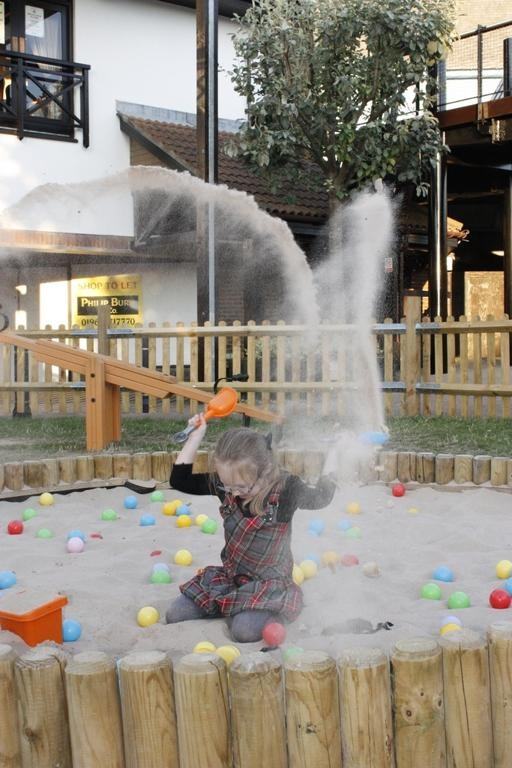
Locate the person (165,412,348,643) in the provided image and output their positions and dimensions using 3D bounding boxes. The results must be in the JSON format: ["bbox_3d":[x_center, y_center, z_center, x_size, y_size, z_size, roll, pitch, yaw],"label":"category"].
[{"bbox_3d":[-0.027,0.771,7.689,0.909,1.206,0.641,3,11,20],"label":"person"}]

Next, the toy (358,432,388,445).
[{"bbox_3d":[0.746,0.345,8.884,0.150,0.055,0.158,-1,1,8],"label":"toy"}]
